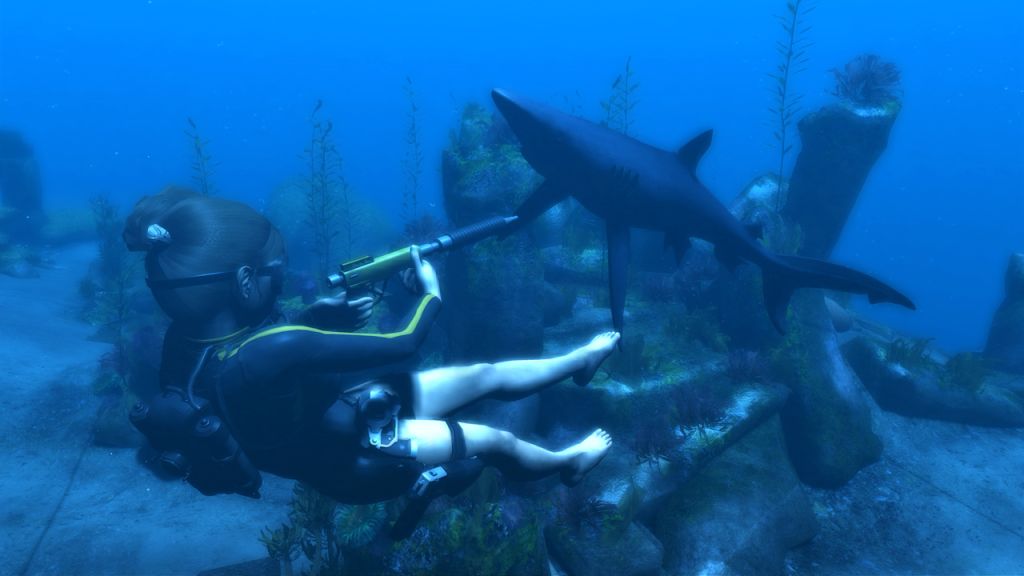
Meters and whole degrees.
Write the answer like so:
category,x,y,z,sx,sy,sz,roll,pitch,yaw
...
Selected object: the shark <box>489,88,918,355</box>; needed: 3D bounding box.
category,x,y,z,sx,sy,sz,roll,pitch,yaw
shark,3.270,-1.208,16.721,8.677,3.706,3.364,29,19,-3
